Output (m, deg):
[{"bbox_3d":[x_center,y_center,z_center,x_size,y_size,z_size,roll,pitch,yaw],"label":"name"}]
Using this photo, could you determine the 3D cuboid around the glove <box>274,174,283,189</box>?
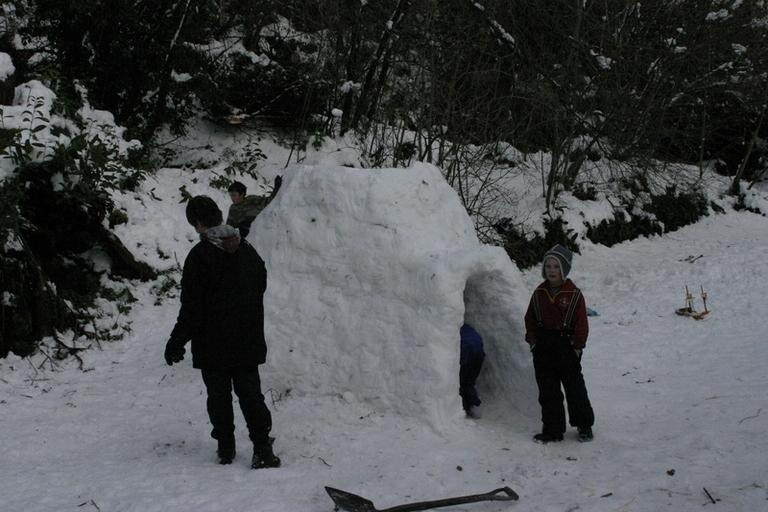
[{"bbox_3d":[-1.547,-1.022,10.797,0.106,0.250,0.630,2,5,-10],"label":"glove"}]

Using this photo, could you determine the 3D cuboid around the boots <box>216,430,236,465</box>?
[{"bbox_3d":[-1.907,2.283,8.950,0.145,0.307,0.436,4,6,8],"label":"boots"}]

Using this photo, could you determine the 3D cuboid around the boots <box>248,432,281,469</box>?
[{"bbox_3d":[-1.371,2.355,8.967,0.425,0.420,0.240,-12,-28,20],"label":"boots"}]

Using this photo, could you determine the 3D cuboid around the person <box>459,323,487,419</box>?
[{"bbox_3d":[1.133,1.528,9.979,0.316,1.192,0.256,3,6,6],"label":"person"}]

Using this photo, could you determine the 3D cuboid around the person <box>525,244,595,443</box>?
[{"bbox_3d":[2.239,1.102,9.527,0.958,2.434,0.561,4,6,11],"label":"person"}]

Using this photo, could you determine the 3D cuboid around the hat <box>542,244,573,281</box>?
[{"bbox_3d":[2.229,0.079,9.788,0.349,0.445,0.458,5,-14,37],"label":"hat"}]

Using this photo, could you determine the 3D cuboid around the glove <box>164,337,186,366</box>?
[{"bbox_3d":[-2.500,1.133,8.854,0.152,0.322,0.243,35,1,-3],"label":"glove"}]

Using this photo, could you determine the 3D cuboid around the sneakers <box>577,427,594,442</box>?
[{"bbox_3d":[2.538,2.222,9.460,0.194,0.179,0.139,4,6,14],"label":"sneakers"}]
